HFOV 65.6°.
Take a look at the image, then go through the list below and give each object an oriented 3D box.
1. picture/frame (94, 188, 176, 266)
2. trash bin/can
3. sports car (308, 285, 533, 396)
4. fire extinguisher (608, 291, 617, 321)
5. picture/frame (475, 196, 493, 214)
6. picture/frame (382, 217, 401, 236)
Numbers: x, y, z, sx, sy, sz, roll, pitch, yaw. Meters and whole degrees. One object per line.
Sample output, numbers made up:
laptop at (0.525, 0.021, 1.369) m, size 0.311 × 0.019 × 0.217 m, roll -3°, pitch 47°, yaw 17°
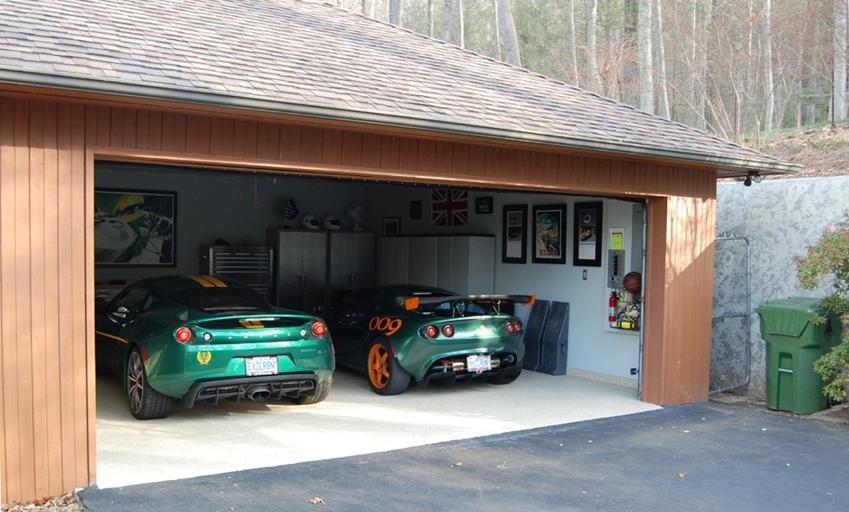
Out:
picture/frame at (-6.685, -0.662, 15.088) m, size 1.962 × 1.311 × 0.069 m, roll 0°, pitch -3°, yaw -37°
trash bin/can at (6.000, 1.562, 11.056) m, size 1.421 × 1.784 × 1.194 m, roll 1°, pitch 0°, yaw -35°
sports car at (-0.204, 1.376, 11.582) m, size 2.212 × 1.656 × 4.507 m, roll 0°, pitch 0°, yaw -28°
fire extinguisher at (3.412, 0.920, 11.955) m, size 0.167 × 0.557 × 0.187 m, roll 8°, pitch 12°, yaw 32°
picture/frame at (1.312, -1.105, 14.203) m, size 0.050 × 0.347 × 0.436 m, roll 3°, pitch -1°, yaw -35°
picture/frame at (-0.801, -0.763, 16.808) m, size 0.044 × 0.375 × 0.530 m, roll 4°, pitch -2°, yaw -41°
